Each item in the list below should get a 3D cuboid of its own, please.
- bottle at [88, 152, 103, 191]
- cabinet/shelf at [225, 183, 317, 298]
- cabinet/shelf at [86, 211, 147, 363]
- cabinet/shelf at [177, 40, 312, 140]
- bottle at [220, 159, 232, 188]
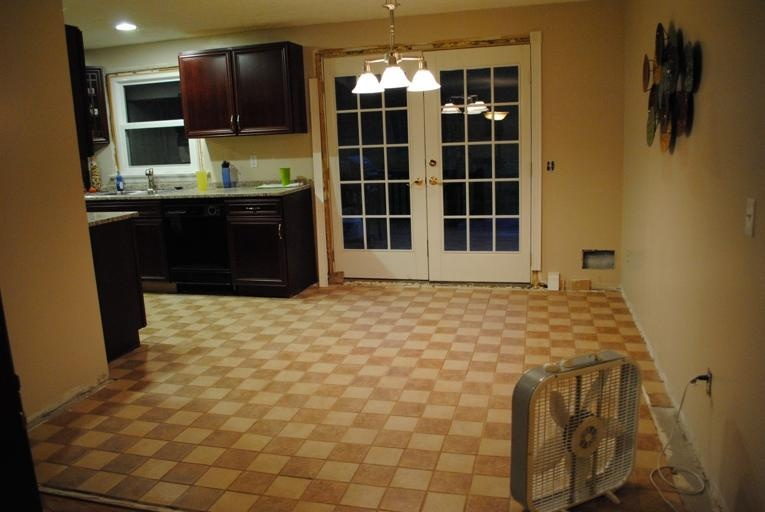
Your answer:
[{"bbox_3d":[-3.397,-0.974,6.491,0.115,0.425,0.279,-8,10,-22],"label":"bottle"},{"bbox_3d":[-1.181,-0.158,5.871,0.730,1.018,0.740,1,10,16],"label":"cabinet/shelf"},{"bbox_3d":[-2.095,0.231,4.359,0.182,1.121,0.490,-3,9,10],"label":"cabinet/shelf"},{"bbox_3d":[-1.668,-1.722,5.793,0.403,0.893,1.473,17,27,32],"label":"cabinet/shelf"},{"bbox_3d":[-1.715,-0.901,6.097,0.116,0.288,0.085,-7,10,-17],"label":"bottle"}]
